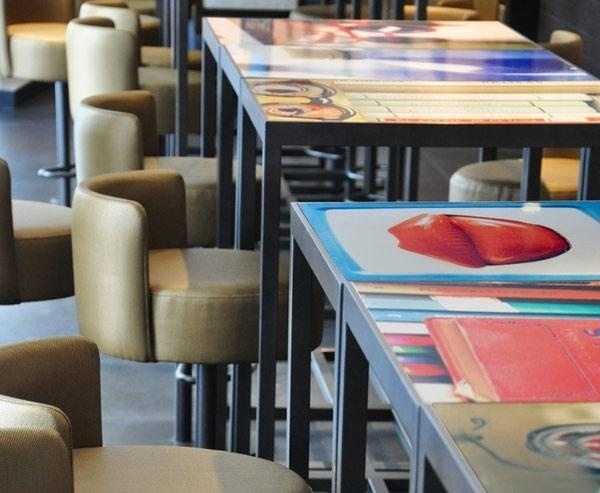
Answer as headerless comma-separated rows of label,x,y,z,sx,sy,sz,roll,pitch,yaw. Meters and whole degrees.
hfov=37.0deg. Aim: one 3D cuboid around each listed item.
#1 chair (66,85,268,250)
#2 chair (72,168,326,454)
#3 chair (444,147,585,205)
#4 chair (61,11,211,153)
chair,-0.337,-0.294,2.966,0.686,0.550,0.484,-1,24,0
chair,-0.278,0.057,2.395,0.756,0.849,0.674,2,21,4
chair,0.741,-0.224,2.917,0.355,0.195,0.343,-9,14,-40
chair,-0.660,-0.807,4.195,0.749,0.703,0.524,-3,29,-6
